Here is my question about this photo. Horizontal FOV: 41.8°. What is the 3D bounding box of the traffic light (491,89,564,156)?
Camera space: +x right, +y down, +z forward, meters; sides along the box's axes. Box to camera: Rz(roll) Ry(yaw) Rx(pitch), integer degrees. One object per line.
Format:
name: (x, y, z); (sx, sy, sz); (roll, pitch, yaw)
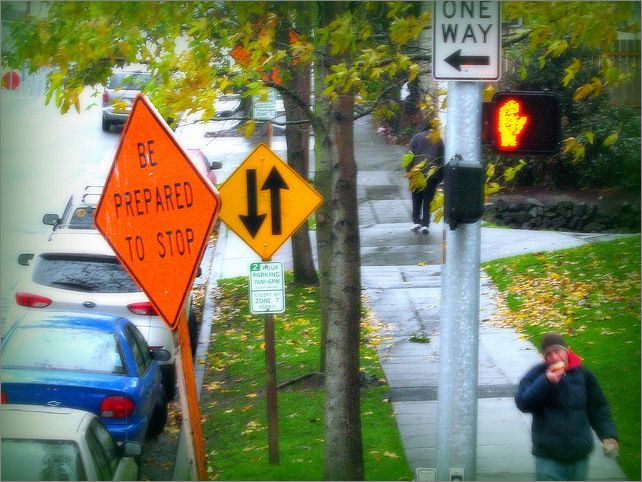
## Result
traffic light: (1.894, -1.150, 8.205); (0.699, 0.638, 0.092); (-5, 11, 0)

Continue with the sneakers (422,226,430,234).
sneakers: (2.193, -0.237, 18.955); (0.158, 0.132, 0.336); (-1, -8, 4)

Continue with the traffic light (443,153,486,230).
traffic light: (1.298, -0.469, 8.145); (0.373, 0.720, 0.243); (-2, 8, 6)

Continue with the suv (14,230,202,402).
suv: (-3.171, 1.020, 11.459); (2.123, 1.433, 3.052); (1, 10, 4)

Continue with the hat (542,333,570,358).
hat: (2.136, 1.021, 8.186); (0.224, 0.207, 0.235); (-13, -11, 1)

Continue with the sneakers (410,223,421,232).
sneakers: (2.015, -0.301, 19.244); (0.184, 0.162, 0.394); (2, 5, 1)
